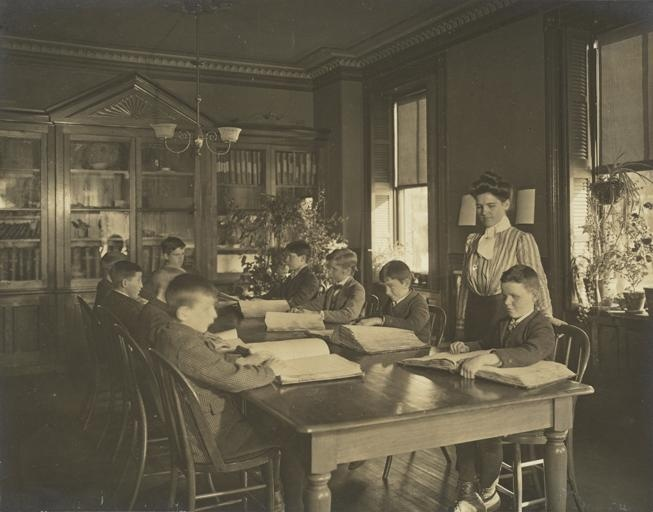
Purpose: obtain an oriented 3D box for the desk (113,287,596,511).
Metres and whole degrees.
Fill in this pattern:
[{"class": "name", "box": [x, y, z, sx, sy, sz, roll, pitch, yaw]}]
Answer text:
[{"class": "desk", "box": [0.186, 0.640, 3.231, 1.933, 1.072, 0.657, 0, 2, -9]}]
